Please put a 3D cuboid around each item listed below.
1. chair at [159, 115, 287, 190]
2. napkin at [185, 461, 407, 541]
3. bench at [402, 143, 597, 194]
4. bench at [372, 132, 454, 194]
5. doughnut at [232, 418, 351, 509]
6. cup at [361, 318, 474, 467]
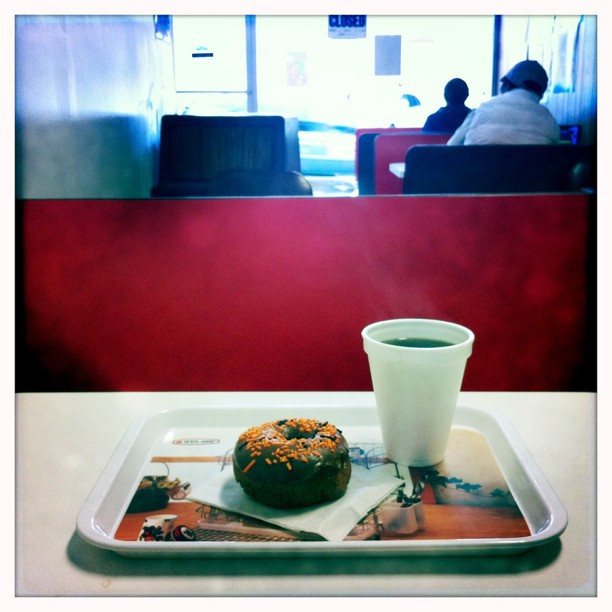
[{"bbox_3d":[-0.249,-0.422,1.573,0.381,0.201,0.213,2,13,10],"label":"chair"},{"bbox_3d":[-0.018,0.178,0.622,0.161,0.017,0.172,0,8,17],"label":"napkin"},{"bbox_3d":[0.359,-0.257,1.079,0.355,0.097,0.342,1,13,9],"label":"bench"},{"bbox_3d":[0.471,-0.630,2.397,0.282,0.268,0.208,4,38,18],"label":"bench"},{"bbox_3d":[-0.018,0.157,0.622,0.129,0.063,0.130,13,-20,-14],"label":"doughnut"},{"bbox_3d":[0.109,0.092,0.677,0.157,0.167,0.151,0,-3,0],"label":"cup"}]
